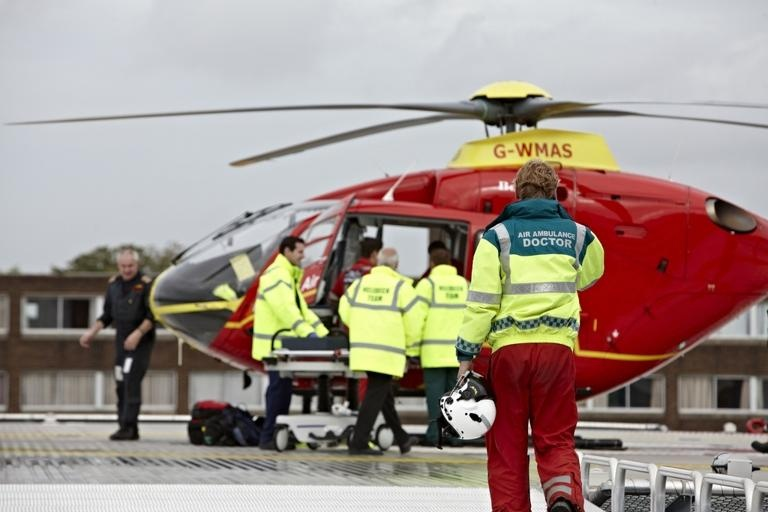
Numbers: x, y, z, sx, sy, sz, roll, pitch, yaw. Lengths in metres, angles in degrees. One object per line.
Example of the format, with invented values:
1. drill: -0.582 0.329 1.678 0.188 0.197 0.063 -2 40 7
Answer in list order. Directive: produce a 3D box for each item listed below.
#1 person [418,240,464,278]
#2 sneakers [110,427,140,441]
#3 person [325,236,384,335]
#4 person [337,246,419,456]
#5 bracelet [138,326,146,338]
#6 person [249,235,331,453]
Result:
1. person: 0.732 0.036 18.882 0.605 0.811 0.279 -1 -3 -3
2. sneakers: -3.194 2.219 18.346 0.468 0.187 0.133 3 -4 -1
3. person: -0.377 0.268 18.490 0.400 1.056 0.865 23 -12 -40
4. person: -0.062 1.120 17.500 0.935 2.462 0.743 5 -13 -15
5. bracelet: -2.986 0.936 18.315 0.078 0.100 0.100 -11 -18 -37
6. person: -1.141 1.015 17.562 0.796 2.547 0.802 4 -12 -8
